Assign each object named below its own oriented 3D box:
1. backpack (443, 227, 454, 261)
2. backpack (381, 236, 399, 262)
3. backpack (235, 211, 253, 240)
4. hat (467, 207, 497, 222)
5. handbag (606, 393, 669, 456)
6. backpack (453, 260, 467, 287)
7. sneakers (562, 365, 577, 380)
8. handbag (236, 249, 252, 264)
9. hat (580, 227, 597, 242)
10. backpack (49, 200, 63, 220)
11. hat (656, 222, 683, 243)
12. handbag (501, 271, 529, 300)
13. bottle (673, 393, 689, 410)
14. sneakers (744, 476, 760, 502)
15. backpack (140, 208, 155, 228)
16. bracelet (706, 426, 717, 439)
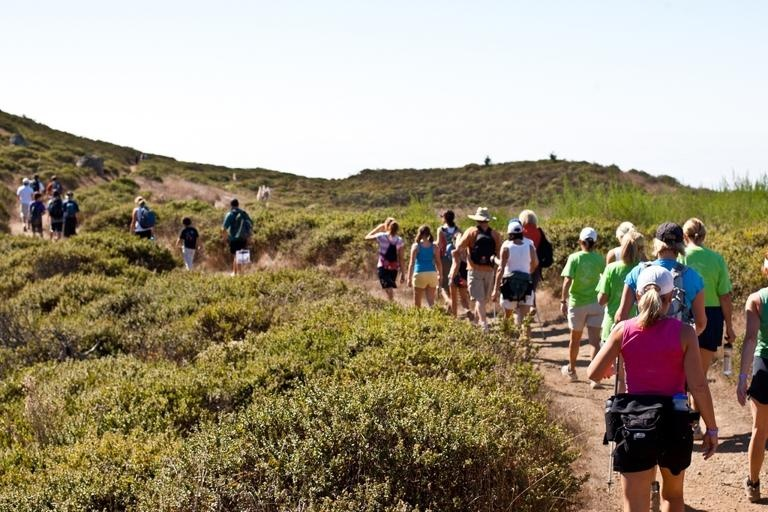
[{"bbox_3d":[1.370,-0.312,19.176,0.293,0.546,0.473,0,-20,4],"label":"backpack"},{"bbox_3d":[0.122,-0.154,19.176,0.360,0.638,0.304,3,5,-6],"label":"backpack"},{"bbox_3d":[-3.473,-0.750,22.864,0.248,0.760,0.588,-1,14,9],"label":"backpack"},{"bbox_3d":[1.934,-0.783,18.040,0.498,0.254,0.595,5,-1,3],"label":"hat"},{"bbox_3d":[3.417,2.288,12.373,0.852,0.732,0.367,1,13,16],"label":"handbag"},{"bbox_3d":[1.598,0.366,19.044,0.186,0.527,0.320,4,-14,-13],"label":"backpack"},{"bbox_3d":[3.354,2.101,16.699,0.132,0.174,0.360,-1,20,-5],"label":"sneakers"},{"bbox_3d":[-3.436,0.031,22.199,0.341,0.314,0.392,-3,15,3],"label":"handbag"},{"bbox_3d":[3.601,-0.379,16.182,0.213,0.213,0.348,3,21,8],"label":"hat"},{"bbox_3d":[-9.164,-1.278,25.661,0.330,0.587,0.479,1,-7,-18],"label":"backpack"},{"bbox_3d":[4.297,-0.338,13.787,0.383,0.305,0.302,1,15,18],"label":"hat"},{"bbox_3d":[2.439,0.574,16.867,0.356,0.613,0.503,6,7,7],"label":"handbag"},{"bbox_3d":[4.009,1.963,12.400,0.153,0.255,0.224,4,14,27],"label":"bottle"},{"bbox_3d":[5.461,3.445,13.578,0.126,0.199,0.401,-4,25,10],"label":"sneakers"},{"bbox_3d":[-6.106,-0.971,23.684,0.308,0.531,0.437,-3,14,1],"label":"backpack"},{"bbox_3d":[4.481,2.426,12.539,0.106,0.106,0.114,-2,-2,-34],"label":"bracelet"}]
